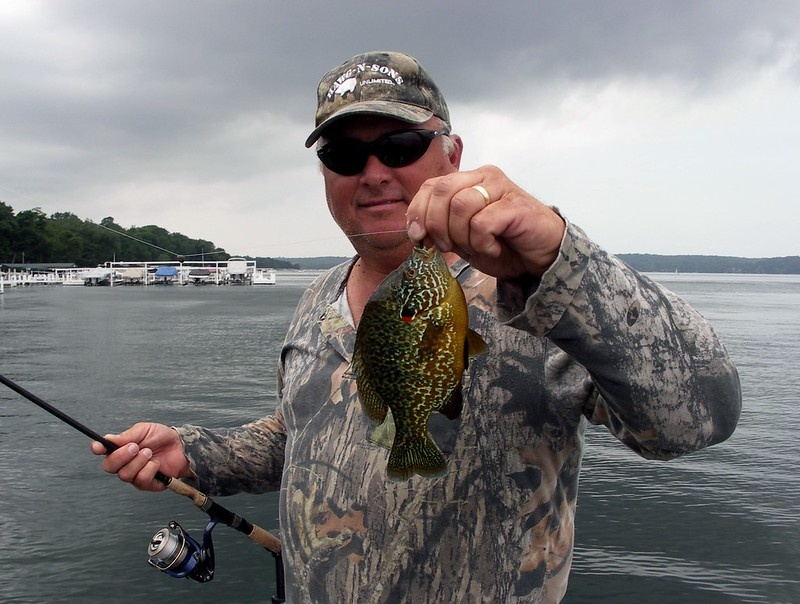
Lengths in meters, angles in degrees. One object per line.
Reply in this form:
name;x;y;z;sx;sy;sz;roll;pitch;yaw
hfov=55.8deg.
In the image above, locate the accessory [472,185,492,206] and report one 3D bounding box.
accessory;0.429;-0.546;3.884;0.102;0.093;0.084;-31;5;13
